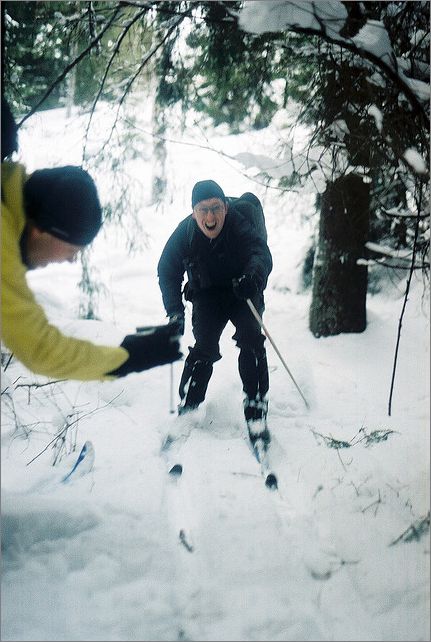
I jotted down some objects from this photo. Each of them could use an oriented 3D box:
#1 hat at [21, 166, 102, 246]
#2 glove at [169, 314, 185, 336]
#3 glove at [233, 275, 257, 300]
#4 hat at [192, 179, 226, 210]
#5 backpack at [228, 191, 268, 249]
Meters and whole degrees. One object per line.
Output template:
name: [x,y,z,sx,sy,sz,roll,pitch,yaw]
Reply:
hat: [-0.595,-0.466,2.324,0.209,0.262,0.320,-18,51,-23]
glove: [-0.194,0.016,3.044,0.090,0.127,0.080,-3,4,-32]
glove: [0.185,-0.211,3.576,0.097,0.168,0.136,3,7,0]
hat: [-0.051,-0.837,3.789,0.150,0.142,0.178,-10,20,6]
backpack: [0.209,-0.681,4.021,0.221,0.371,0.438,-26,0,9]
